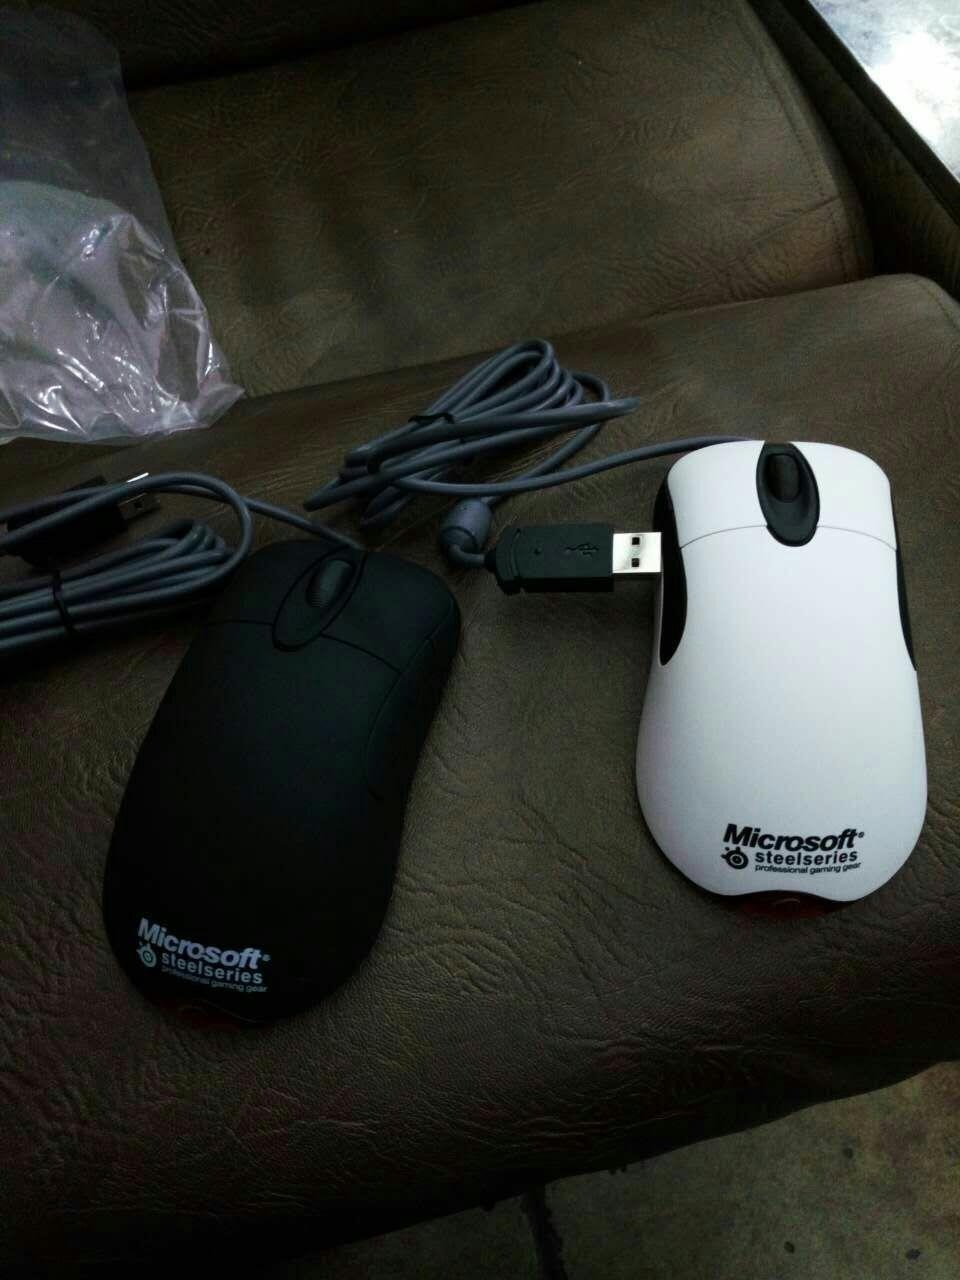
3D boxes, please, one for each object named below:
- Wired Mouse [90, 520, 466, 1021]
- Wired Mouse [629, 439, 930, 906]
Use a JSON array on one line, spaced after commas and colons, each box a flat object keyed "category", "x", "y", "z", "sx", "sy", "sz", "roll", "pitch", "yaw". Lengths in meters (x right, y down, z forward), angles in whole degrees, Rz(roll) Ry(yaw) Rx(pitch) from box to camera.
[{"category": "Wired Mouse", "x": -0.089, "y": 0.065, "z": 0.547, "sx": 0.140, "sy": 0.065, "sz": 0.210, "roll": 17, "pitch": 72, "yaw": 6}, {"category": "Wired Mouse", "x": 0.137, "y": 0.015, "z": 0.500, "sx": 0.127, "sy": 0.062, "sz": 0.203, "roll": 2, "pitch": 70, "yaw": 10}]
